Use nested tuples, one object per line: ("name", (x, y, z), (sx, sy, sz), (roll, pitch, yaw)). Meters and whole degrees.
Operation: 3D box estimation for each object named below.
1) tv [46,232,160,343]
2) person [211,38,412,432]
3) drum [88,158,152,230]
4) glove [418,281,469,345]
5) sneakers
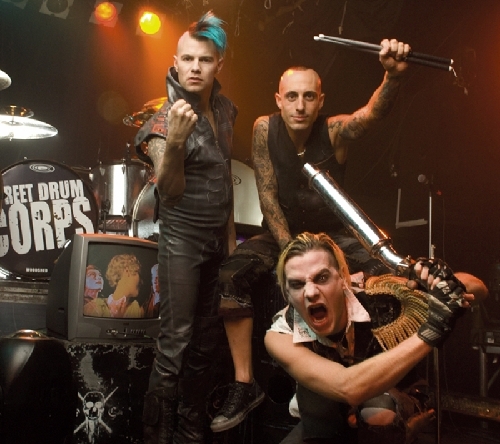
("tv", (-1.196, 0.592, 3.929), (0.876, 0.936, 0.739), (15, -31, -32))
("person", (0.225, 0.079, 3.107), (1.242, 2.376, 1.128), (-8, 25, -11))
("drum", (-1.587, -0.269, 5.740), (0.707, 0.869, 0.785), (0, -7, 13))
("glove", (0.776, 0.353, 1.999), (0.171, 0.276, 0.110), (45, -1, -37))
("sneakers", (-0.061, 1.081, 2.909), (0.152, 0.228, 0.482), (-5, 7, 34))
